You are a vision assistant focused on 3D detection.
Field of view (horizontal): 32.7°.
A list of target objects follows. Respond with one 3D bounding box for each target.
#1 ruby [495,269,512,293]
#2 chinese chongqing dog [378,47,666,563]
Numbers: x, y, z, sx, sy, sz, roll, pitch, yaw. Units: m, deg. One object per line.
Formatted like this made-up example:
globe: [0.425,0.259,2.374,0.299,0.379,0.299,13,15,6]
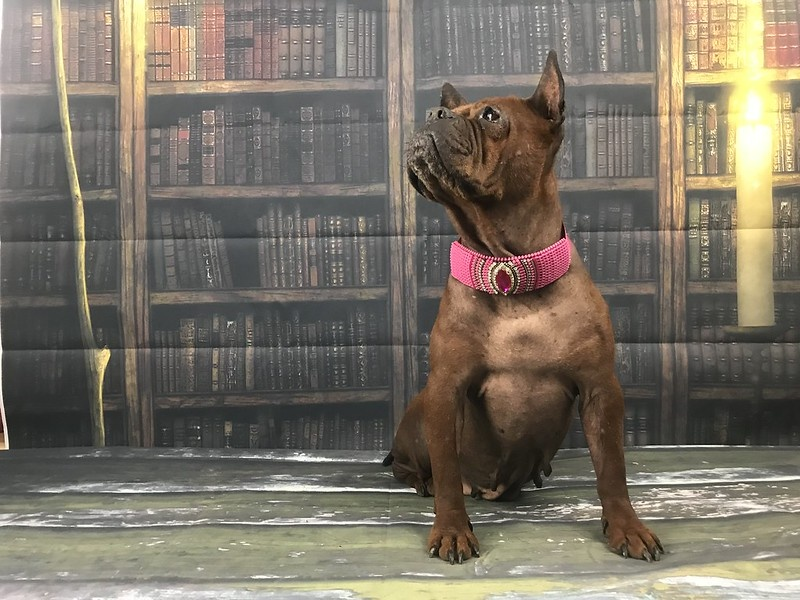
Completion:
ruby: [0.363,-0.066,4.737,0.059,0.086,0.021,-4,4,1]
chinese chongqing dog: [0.429,0.006,4.770,0.791,1.743,0.523,-5,4,3]
